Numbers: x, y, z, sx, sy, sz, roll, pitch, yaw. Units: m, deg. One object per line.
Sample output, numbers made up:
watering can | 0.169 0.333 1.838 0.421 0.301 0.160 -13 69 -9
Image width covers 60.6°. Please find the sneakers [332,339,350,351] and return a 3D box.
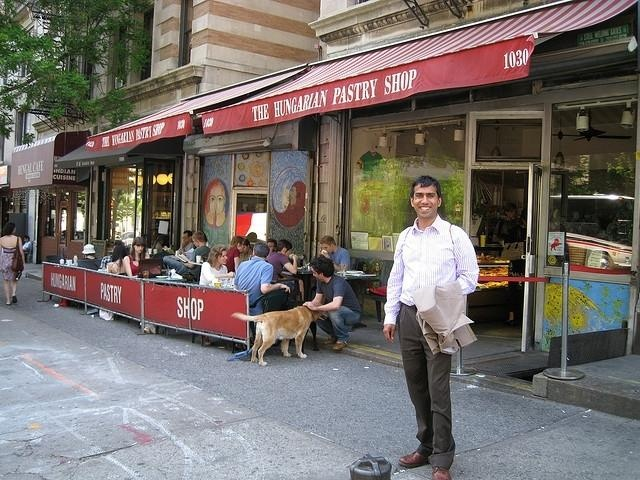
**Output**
sneakers | 0.348 1.754 8.979 0.155 0.155 0.355 -1 -5 11

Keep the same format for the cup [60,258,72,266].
cup | -6.343 0.577 13.591 0.122 0.180 0.109 5 8 -8

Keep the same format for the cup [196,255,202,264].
cup | -2.757 0.456 12.372 0.134 0.150 0.137 1 1 0

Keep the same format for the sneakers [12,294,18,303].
sneakers | -7.380 1.461 13.181 0.087 0.180 0.069 2 1 -25

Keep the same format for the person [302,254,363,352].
person | 0.220 1.026 8.980 0.859 1.470 0.758 -5 5 -1

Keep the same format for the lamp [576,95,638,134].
lamp | 4.582 -1.984 8.815 0.812 0.425 0.997 2 3 24

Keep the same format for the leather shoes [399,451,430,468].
leather shoes | 0.856 1.998 4.952 0.263 0.117 0.125 2 -1 -8

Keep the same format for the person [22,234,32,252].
person | -13.422 0.195 24.995 0.423 0.781 0.789 0 -2 -24

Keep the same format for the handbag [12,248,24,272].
handbag | -7.320 0.510 13.216 0.196 0.605 0.432 -1 3 -25

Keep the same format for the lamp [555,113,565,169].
lamp | 3.993 -1.536 9.122 0.222 0.639 0.060 -1 3 -26

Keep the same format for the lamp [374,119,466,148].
lamp | 2.084 -2.156 11.238 0.527 0.424 2.143 -2 4 -42

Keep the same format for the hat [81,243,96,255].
hat | -6.568 0.271 15.544 0.366 0.271 0.489 -2 13 -19

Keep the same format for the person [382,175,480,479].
person | 0.947 0.744 4.940 0.774 2.648 0.506 3 3 44
